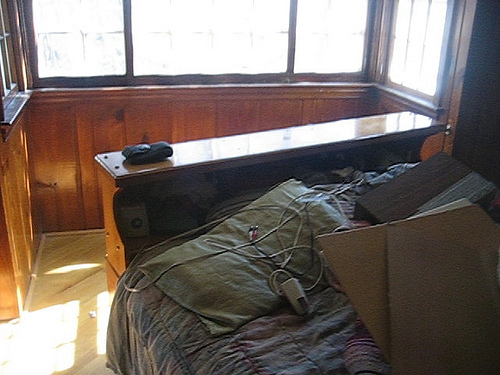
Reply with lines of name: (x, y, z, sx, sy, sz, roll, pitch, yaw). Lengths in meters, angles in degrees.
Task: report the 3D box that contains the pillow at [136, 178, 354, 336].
pillow: (0.028, 0.239, 1.467, 0.700, 0.101, 0.406, -24, 45, -26)
